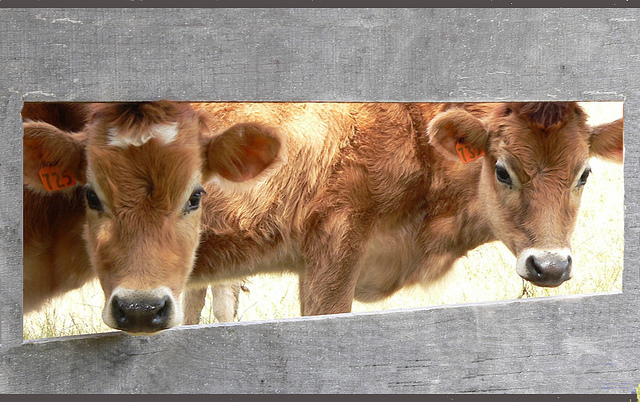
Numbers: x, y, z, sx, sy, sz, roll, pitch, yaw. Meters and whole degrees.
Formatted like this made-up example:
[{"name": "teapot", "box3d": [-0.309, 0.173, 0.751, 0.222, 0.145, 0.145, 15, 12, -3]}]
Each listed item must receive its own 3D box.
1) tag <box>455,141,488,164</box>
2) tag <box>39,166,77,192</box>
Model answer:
[{"name": "tag", "box3d": [1.138, -0.380, 6.944, 0.190, 0.180, 0.013, -5, 27, -2]}, {"name": "tag", "box3d": [-1.725, -0.154, 5.973, 0.180, 0.110, 0.008, -6, 19, 1]}]
